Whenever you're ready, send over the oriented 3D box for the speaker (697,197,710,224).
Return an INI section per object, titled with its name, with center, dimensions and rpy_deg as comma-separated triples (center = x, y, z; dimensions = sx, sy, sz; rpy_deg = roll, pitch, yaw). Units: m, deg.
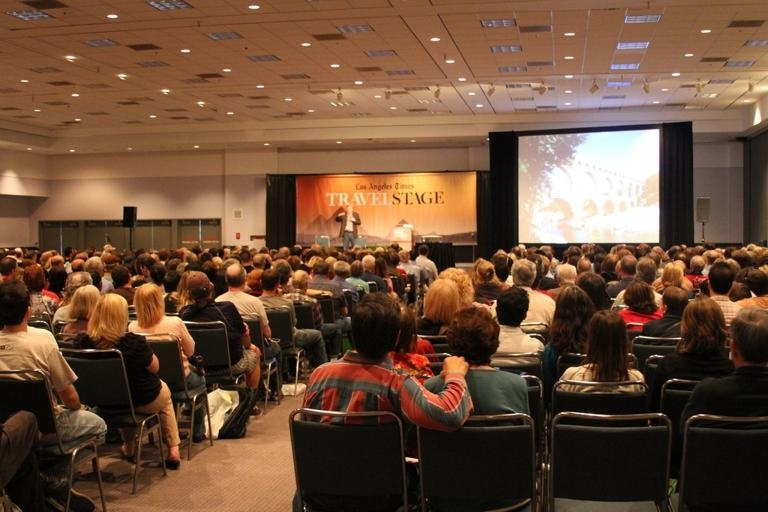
[speaker]
center = 11.467, -1.668, 21.182
dimensions = 0.415, 0.790, 0.380
rpy_deg = -1, 9, 7
